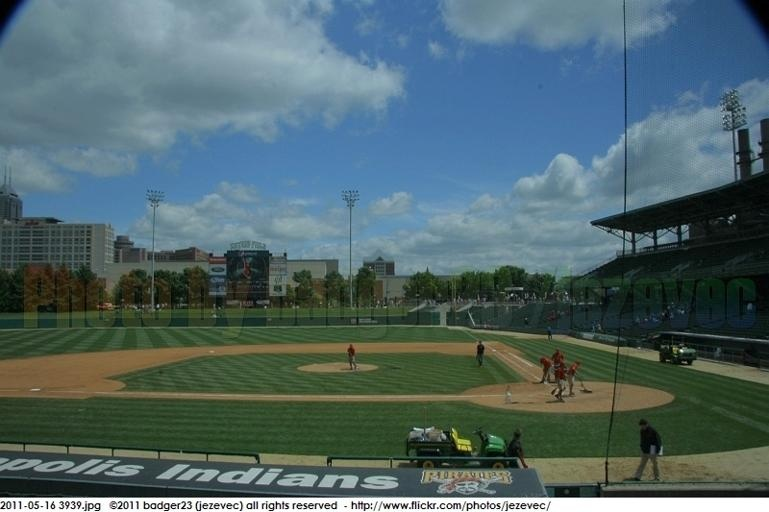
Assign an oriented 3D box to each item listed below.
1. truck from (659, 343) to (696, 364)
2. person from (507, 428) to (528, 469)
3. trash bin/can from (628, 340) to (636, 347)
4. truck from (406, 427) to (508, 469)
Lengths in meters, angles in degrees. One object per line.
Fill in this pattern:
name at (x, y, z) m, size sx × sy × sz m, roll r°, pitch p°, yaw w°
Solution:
truck at (24.897, 8.396, 59.204) m, size 1.757 × 1.302 × 2.308 m, roll 1°, pitch -7°, yaw 4°
person at (7.369, 10.729, 38.247) m, size 0.740 × 2.159 × 1.105 m, roll 18°, pitch -36°, yaw -22°
trash bin/can at (24.559, 8.676, 68.398) m, size 0.564 × 0.486 × 0.286 m, roll -9°, pitch -32°, yaw 11°
truck at (3.889, 10.421, 37.698) m, size 5.246 × 1.912 × 4.354 m, roll 0°, pitch -6°, yaw 2°
